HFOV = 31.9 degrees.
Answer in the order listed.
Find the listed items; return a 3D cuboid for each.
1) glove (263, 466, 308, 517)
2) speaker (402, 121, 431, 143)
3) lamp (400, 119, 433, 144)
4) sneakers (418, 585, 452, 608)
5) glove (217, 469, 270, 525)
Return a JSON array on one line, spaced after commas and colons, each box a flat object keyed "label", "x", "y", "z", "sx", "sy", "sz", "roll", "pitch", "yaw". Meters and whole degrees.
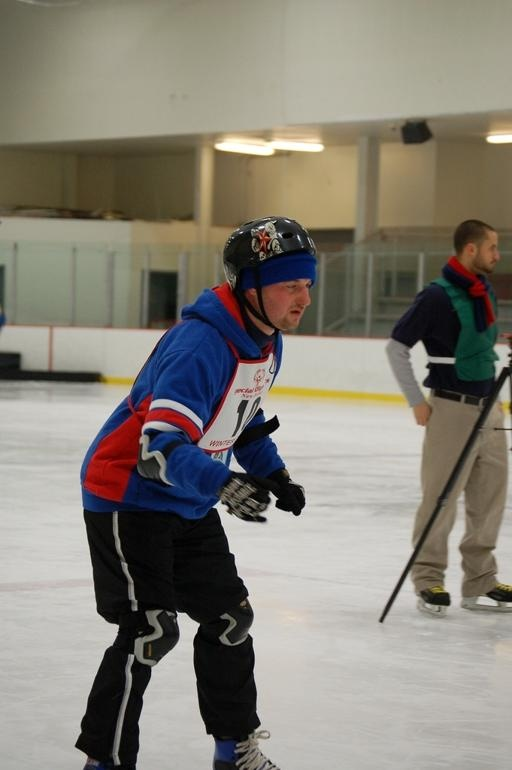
[{"label": "glove", "x": 0.058, "y": 0.207, "z": 1.766, "sx": 0.079, "sy": 0.052, "sz": 0.134, "roll": 26, "pitch": -10, "yaw": 26}, {"label": "speaker", "x": 2.665, "y": -4.214, "z": 14.976, "sx": 0.547, "sy": 0.303, "sz": 0.304, "roll": -7, "pitch": -2, "yaw": -2}, {"label": "lamp", "x": 2.663, "y": -4.209, "z": 14.976, "sx": 0.564, "sy": 0.298, "sz": 0.309, "roll": -6, "pitch": 7, "yaw": 2}, {"label": "sneakers", "x": 0.688, "y": 0.813, "z": 3.448, "sx": 0.058, "sy": 0.062, "sz": 0.142, "roll": 1, "pitch": 4, "yaw": 2}, {"label": "glove", "x": -0.015, "y": 0.181, "z": 1.466, "sx": 0.096, "sy": 0.085, "sz": 0.029, "roll": 9, "pitch": 45, "yaw": 23}]
